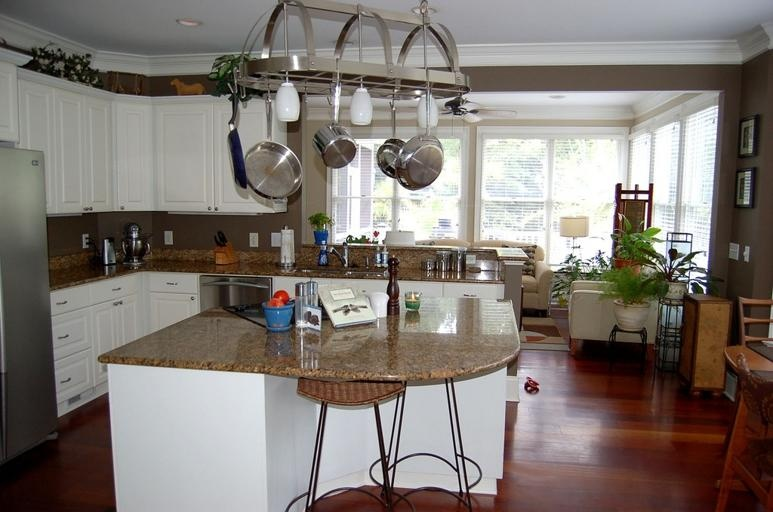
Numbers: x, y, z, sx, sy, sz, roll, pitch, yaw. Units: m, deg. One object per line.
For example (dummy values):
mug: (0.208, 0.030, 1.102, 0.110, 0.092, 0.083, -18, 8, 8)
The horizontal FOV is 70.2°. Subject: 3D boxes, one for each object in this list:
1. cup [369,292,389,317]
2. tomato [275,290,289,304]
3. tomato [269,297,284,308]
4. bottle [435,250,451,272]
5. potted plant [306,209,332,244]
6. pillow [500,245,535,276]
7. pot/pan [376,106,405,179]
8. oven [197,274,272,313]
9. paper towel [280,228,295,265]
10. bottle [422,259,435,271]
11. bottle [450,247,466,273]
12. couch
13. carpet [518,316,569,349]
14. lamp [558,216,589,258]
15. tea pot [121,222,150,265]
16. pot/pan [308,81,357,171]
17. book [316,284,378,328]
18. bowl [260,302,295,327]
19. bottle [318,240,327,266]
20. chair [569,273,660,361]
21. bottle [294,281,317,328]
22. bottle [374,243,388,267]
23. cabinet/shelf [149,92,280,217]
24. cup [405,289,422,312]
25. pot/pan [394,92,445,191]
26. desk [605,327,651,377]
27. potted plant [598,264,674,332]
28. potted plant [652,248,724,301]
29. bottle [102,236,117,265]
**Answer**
cup: (-0.053, 0.352, 4.030, 0.125, 0.154, 0.180, -2, -1, -23)
tomato: (-0.732, 0.290, 3.843, 0.097, 0.091, 0.094, 6, 15, -12)
tomato: (-0.764, 0.315, 3.785, 0.071, 0.067, 0.071, 5, 2, 34)
bottle: (0.570, 0.046, 5.896, 0.244, 0.224, 0.174, 1, 0, 1)
potted plant: (-0.752, -0.313, 6.295, 0.240, 0.350, 0.362, -1, 11, -7)
pillow: (1.553, 0.062, 6.427, 0.389, 0.450, 0.178, -6, -14, 5)
pot/pan: (0.074, -0.769, 3.795, 0.314, 0.520, 0.091, 4, 7, 43)
oven: (-1.571, 0.476, 5.953, 0.825, 0.518, 0.546, 1, -4, 15)
paper towel: (-1.104, -0.108, 6.065, 0.168, 0.414, 0.165, 1, 4, 15)
bottle: (0.455, 0.098, 5.855, 0.117, 0.123, 0.116, 1, 0, 12)
bottle: (0.752, 0.053, 5.786, 0.185, 0.219, 0.231, 1, -2, 1)
couch: (1.571, 0.290, 8.658, 2.004, 0.946, 1.053, 4, 13, 14)
carpet: (2.057, 0.980, 7.487, 0.496, 0.016, 1.162, -1, 22, 16)
lamp: (2.916, -0.290, 8.518, 0.467, 0.713, 0.457, -14, 20, -30)
tea pot: (-2.801, -0.142, 6.137, 0.393, 0.436, 0.261, -3, 4, -42)
pot/pan: (-0.323, -0.880, 3.551, 0.253, 0.589, 0.202, -13, 44, -27)
book: (-0.300, 0.345, 3.937, 0.357, 0.088, 0.367, -3, 47, -35)
bowl: (-0.745, 0.398, 3.739, 0.169, 0.117, 0.169, 0, 1, 0)
bottle: (-0.713, -0.027, 6.140, 0.103, 0.251, 0.188, -1, 11, -6)
chair: (2.702, 0.700, 6.673, 0.910, 0.794, 0.872, -1, 8, 9)
bottle: (-0.564, 0.315, 3.861, 0.166, 0.296, 0.243, -1, 11, -7)
bottle: (-0.055, -0.006, 6.107, 0.143, 0.224, 0.188, 0, 11, -1)
cabinet/shelf: (-1.866, -1.066, 6.205, 1.441, 1.262, 0.501, 2, 5, 10)
cup: (0.204, 0.339, 4.234, 0.117, 0.138, 0.200, 1, 11, 4)
pot/pan: (0.188, -0.741, 3.563, 0.379, 0.576, 0.081, -7, 17, -30)
desk: (2.822, 0.992, 6.376, 0.439, 0.450, 0.756, 5, 12, 24)
potted plant: (2.790, 0.472, 6.241, 0.663, 0.682, 0.522, -1, 8, -1)
potted plant: (3.267, 0.193, 5.966, 0.589, 0.301, 0.619, 1, 2, -4)
bottle: (-2.999, -0.056, 5.901, 0.125, 0.275, 0.270, -6, 13, -30)
